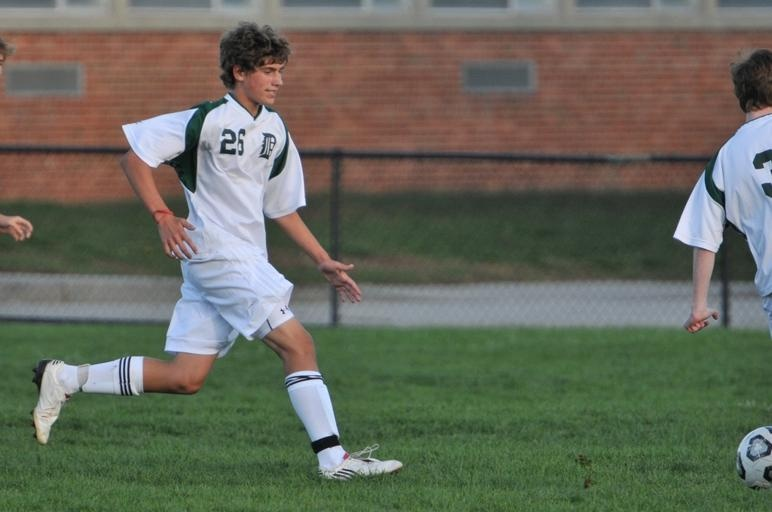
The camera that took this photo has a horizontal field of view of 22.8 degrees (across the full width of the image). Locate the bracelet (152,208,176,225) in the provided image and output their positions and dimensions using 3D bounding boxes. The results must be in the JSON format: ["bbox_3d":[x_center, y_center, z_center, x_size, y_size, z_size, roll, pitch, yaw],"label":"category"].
[{"bbox_3d":[-2.611,-0.426,22.561,0.178,0.111,0.210,-4,12,5],"label":"bracelet"}]
